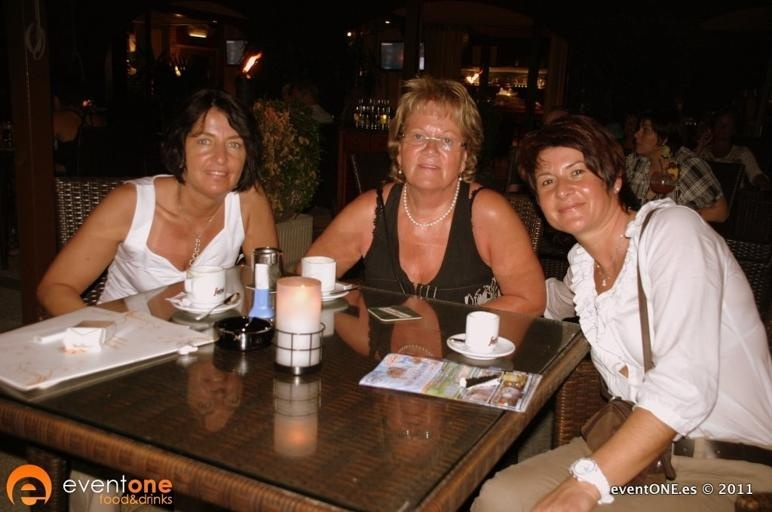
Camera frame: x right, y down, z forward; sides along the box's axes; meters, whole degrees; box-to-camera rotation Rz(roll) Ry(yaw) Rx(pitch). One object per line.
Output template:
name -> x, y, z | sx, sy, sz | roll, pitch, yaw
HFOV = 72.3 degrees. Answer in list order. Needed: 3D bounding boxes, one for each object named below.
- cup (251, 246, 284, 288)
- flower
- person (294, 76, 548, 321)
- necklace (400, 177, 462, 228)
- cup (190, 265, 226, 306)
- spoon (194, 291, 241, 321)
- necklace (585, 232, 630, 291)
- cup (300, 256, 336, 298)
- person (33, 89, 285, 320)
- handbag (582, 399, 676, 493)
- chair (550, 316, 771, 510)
cup -> -0.484, 0.046, 2.273 | 0.125, 0.198, 0.170 | 1, 7, 1
flower -> -0.870, -0.895, 4.862 | 0.457, 1.016, 0.795 | -1, 0, 41
person -> 0.210, -0.253, 2.968 | 1.529, 1.305, 0.939 | 7, 20, 26
necklace -> 0.264, -0.351, 3.010 | 0.266, 0.328, 0.070 | 3, 19, 7
cup -> -0.714, 0.120, 2.112 | 0.108, 0.121, 0.165 | 5, 13, 14
spoon -> -0.679, 0.202, 2.161 | 0.047, 0.031, 0.231 | 13, 21, 19
necklace -> 0.930, 0.023, 2.214 | 0.056, 0.223, 0.136 | 15, 2, -37
cup -> -0.279, 0.086, 2.435 | 0.179, 0.180, 0.185 | 0, 12, 0
person -> -1.107, -0.195, 2.876 | 1.384, 1.298, 0.731 | -1, 17, -39
handbag -> 0.933, 0.707, 1.994 | 0.229, 0.367, 0.387 | -4, -28, 8
chair -> 1.123, 0.675, 2.279 | 0.467, 0.590, 0.521 | 2, 1, 40
